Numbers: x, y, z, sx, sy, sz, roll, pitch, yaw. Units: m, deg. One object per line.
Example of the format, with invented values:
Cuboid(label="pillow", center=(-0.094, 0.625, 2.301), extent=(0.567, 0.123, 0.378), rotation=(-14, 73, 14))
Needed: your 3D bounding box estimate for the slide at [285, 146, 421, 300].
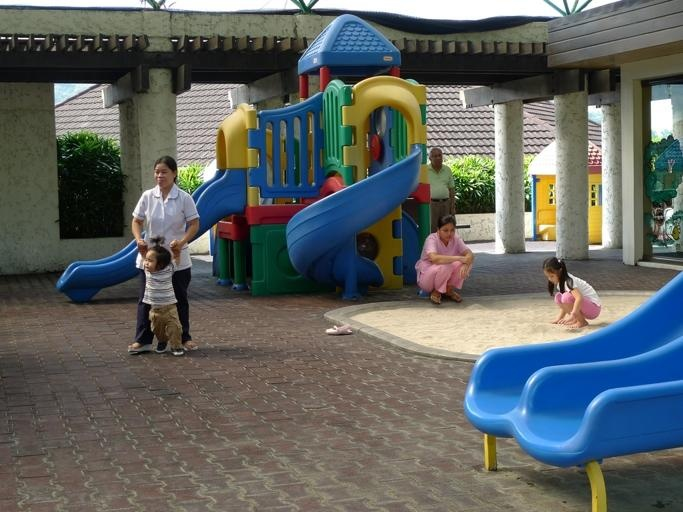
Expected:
Cuboid(label="slide", center=(0.035, -0.421, 10.360), extent=(1.751, 1.915, 1.728), rotation=(-1, 4, 39))

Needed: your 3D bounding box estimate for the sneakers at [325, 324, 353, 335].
Cuboid(label="sneakers", center=(-0.019, 0.823, 7.783), extent=(0.231, 0.075, 0.127), rotation=(2, -1, -15))

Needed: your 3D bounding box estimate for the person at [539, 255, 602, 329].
Cuboid(label="person", center=(2.582, 0.397, 7.678), extent=(0.650, 0.756, 0.527), rotation=(-2, -1, -3))

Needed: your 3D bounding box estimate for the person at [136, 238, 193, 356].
Cuboid(label="person", center=(-1.781, 0.400, 6.869), extent=(0.420, 1.173, 0.382), rotation=(-6, 8, -40))

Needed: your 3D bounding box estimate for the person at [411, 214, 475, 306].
Cuboid(label="person", center=(1.419, 0.038, 9.625), extent=(0.739, 1.190, 0.616), rotation=(-1, 6, 4))
